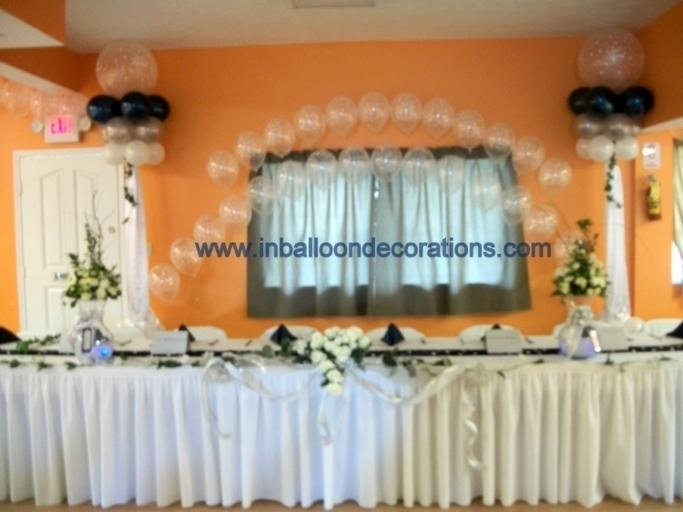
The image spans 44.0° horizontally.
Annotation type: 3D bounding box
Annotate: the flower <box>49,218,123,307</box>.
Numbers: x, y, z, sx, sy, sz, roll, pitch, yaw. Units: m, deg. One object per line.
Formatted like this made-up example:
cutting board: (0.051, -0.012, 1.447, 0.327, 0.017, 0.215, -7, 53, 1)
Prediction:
flower: (-2.220, 0.109, 7.824, 0.334, 0.559, 0.345, 13, 7, 0)

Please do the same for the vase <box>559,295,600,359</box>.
vase: (2.198, 0.683, 7.824, 0.372, 0.617, 0.383, 1, -2, 18)

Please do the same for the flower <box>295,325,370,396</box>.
flower: (0.003, 0.918, 7.531, 0.632, 0.588, 0.211, -1, -3, 1)

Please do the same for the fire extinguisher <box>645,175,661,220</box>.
fire extinguisher: (3.556, -0.682, 9.799, 0.148, 0.505, 0.121, -1, -3, 8)
